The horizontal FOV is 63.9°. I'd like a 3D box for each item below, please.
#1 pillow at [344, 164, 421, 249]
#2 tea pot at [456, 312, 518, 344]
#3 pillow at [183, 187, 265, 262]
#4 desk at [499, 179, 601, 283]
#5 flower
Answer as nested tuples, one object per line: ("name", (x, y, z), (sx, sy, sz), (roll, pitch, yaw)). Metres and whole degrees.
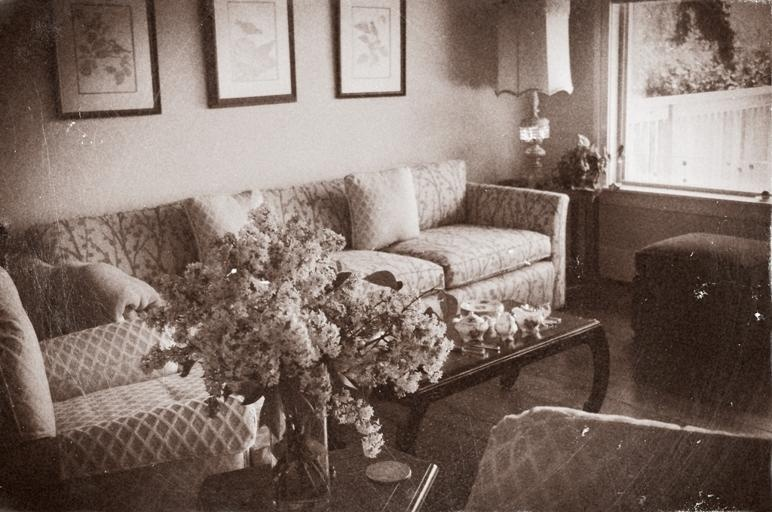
("pillow", (-0.013, -0.086, 1.092), (0.121, 0.126, 0.042), (-12, 9, -19))
("tea pot", (0.187, 0.124, 1.147), (0.098, 0.053, 0.059), (-2, 7, -15))
("pillow", (-0.275, -0.068, 1.120), (0.131, 0.116, 0.102), (-25, -1, -33))
("desk", (0.359, -0.054, 1.320), (0.187, 0.280, 0.189), (-13, 18, -31))
("flower", (-0.186, 0.143, 1.052), (0.406, 0.366, 0.416), (14, -8, -22))
